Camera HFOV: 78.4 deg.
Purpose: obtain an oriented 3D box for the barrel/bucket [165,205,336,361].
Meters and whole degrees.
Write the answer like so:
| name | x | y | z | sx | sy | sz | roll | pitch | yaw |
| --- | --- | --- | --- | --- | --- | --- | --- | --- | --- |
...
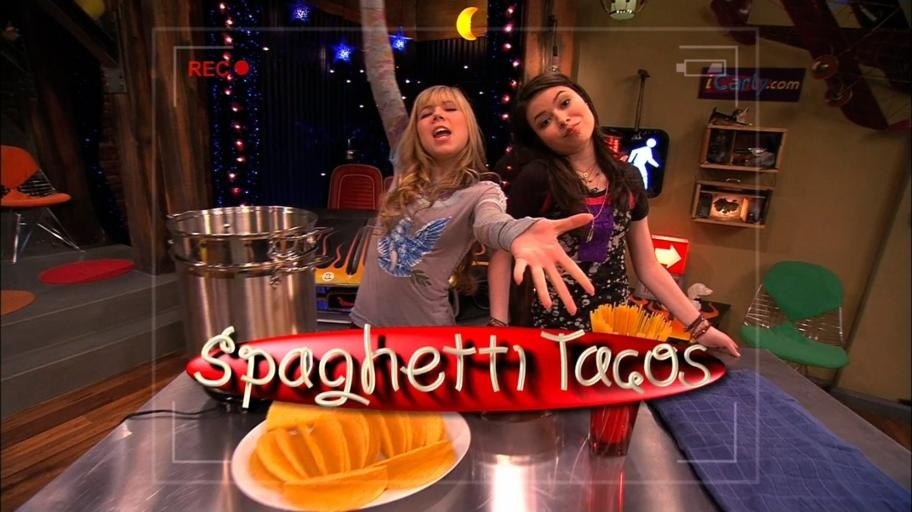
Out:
| name | x | y | z | sx | sy | sz | roll | pitch | yaw |
| --- | --- | --- | --- | --- | --- | --- | --- | --- | --- |
| barrel/bucket | -0.763 | 0.107 | 2.151 | 0.583 | 0.622 | 0.396 | 20 | 36 | 18 |

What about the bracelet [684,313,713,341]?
| name | x | y | z | sx | sy | sz | roll | pitch | yaw |
| --- | --- | --- | --- | --- | --- | --- | --- | --- | --- |
| bracelet | 1.011 | 0.307 | 2.326 | 0.072 | 0.113 | 0.085 | 28 | 54 | -4 |

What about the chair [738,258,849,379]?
| name | x | y | z | sx | sy | sz | roll | pitch | yaw |
| --- | --- | --- | --- | --- | --- | --- | --- | --- | --- |
| chair | 2.283 | 0.402 | 3.732 | 0.620 | 0.793 | 0.589 | 12 | 31 | 20 |

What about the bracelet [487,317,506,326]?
| name | x | y | z | sx | sy | sz | roll | pitch | yaw |
| --- | --- | --- | --- | --- | --- | --- | --- | --- | --- |
| bracelet | 0.169 | 0.261 | 2.196 | 0.046 | 0.023 | 0.034 | 1 | 3 | -28 |

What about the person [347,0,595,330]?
| name | x | y | z | sx | sy | sz | roll | pitch | yaw |
| --- | --- | --- | --- | --- | --- | --- | --- | --- | --- |
| person | 0.013 | -0.340 | 2.174 | 0.853 | 1.288 | 0.423 | 6 | 16 | 23 |

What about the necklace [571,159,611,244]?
| name | x | y | z | sx | sy | sz | roll | pitch | yaw |
| --- | --- | --- | --- | --- | --- | --- | --- | --- | --- |
| necklace | 0.594 | -0.236 | 2.461 | 0.212 | 0.333 | 0.085 | -1 | 0 | -12 |
